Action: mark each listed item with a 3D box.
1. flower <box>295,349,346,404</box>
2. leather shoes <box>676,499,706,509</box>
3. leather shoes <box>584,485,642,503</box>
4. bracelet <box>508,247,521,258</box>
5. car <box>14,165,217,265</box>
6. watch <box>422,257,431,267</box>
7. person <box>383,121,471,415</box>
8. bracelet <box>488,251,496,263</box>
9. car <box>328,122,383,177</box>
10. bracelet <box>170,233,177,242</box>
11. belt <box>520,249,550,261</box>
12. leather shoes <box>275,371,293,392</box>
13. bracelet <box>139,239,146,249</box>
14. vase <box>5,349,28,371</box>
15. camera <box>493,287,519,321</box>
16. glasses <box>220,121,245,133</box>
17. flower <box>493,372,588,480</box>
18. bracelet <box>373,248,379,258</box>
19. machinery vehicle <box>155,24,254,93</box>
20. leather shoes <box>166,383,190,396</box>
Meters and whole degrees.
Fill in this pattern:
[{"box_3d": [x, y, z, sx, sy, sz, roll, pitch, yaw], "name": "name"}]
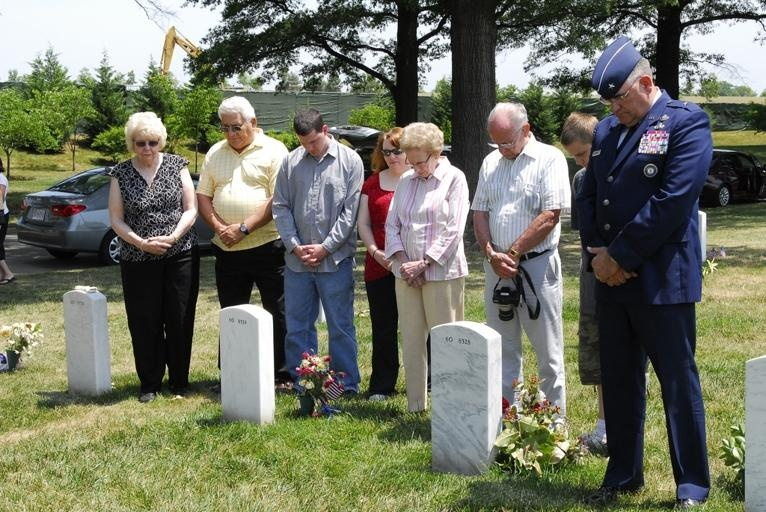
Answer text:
[{"box_3d": [-0.626, 1.277, 8.902, 0.372, 0.554, 0.618, 2, 4, 43], "name": "flower"}, {"box_3d": [2.598, 2.107, 7.286, 0.241, 0.067, 0.119, 0, 3, 11], "name": "leather shoes"}, {"box_3d": [2.009, 2.095, 7.541, 0.486, 0.210, 0.165, 5, -7, -19], "name": "leather shoes"}, {"box_3d": [1.278, -0.020, 8.399, 0.087, 0.031, 0.090, 37, -6, 47], "name": "bracelet"}, {"box_3d": [-3.865, -0.505, 12.365, 3.470, 1.273, 1.546, -8, 10, -40], "name": "car"}, {"box_3d": [0.451, 0.064, 8.723, 0.039, 0.071, 0.096, -19, 1, -32], "name": "watch"}, {"box_3d": [0.450, 0.151, 8.857, 0.849, 2.956, 0.391, 0, 3, -2], "name": "person"}, {"box_3d": [1.069, 0.025, 8.531, 0.097, 0.090, 0.063, -23, 37, -33], "name": "bracelet"}, {"box_3d": [-0.600, -2.793, 23.107, 1.404, 1.048, 2.840, -9, 19, -32], "name": "car"}, {"box_3d": [-2.263, -0.181, 9.300, 0.078, 0.088, 0.038, -1, 3, -14], "name": "bracelet"}, {"box_3d": [1.480, -0.003, 8.460, 0.168, 0.051, 0.151, -19, -1, -29], "name": "belt"}, {"box_3d": [-1.119, 1.419, 9.649, 0.238, 0.152, 0.102, 3, -1, -4], "name": "leather shoes"}, {"box_3d": [-2.558, -0.119, 9.219, 0.079, 0.096, 0.034, 1, 3, 29], "name": "bracelet"}, {"box_3d": [-4.371, 1.262, 10.341, 0.213, 0.233, 0.223, -9, -19, 28], "name": "vase"}, {"box_3d": [1.221, 0.479, 8.512, 0.257, 0.339, 0.152, 0, 3, 8], "name": "camera"}, {"box_3d": [-1.678, -1.398, 9.487, 0.258, 0.102, 0.134, 2, 4, 38], "name": "glasses"}, {"box_3d": [1.382, 1.500, 7.927, 0.680, 0.606, 0.603, -3, 20, -2], "name": "flower"}, {"box_3d": [-0.075, -0.027, 9.221, 0.063, 0.086, 0.055, -1, 3, -15], "name": "bracelet"}, {"box_3d": [-10.726, -11.352, 49.583, 5.682, 3.332, 1.545, 11, 9, 28], "name": "machinery vehicle"}, {"box_3d": [-2.258, 1.490, 9.513, 0.194, 0.197, 0.117, 0, 4, 5], "name": "leather shoes"}]
